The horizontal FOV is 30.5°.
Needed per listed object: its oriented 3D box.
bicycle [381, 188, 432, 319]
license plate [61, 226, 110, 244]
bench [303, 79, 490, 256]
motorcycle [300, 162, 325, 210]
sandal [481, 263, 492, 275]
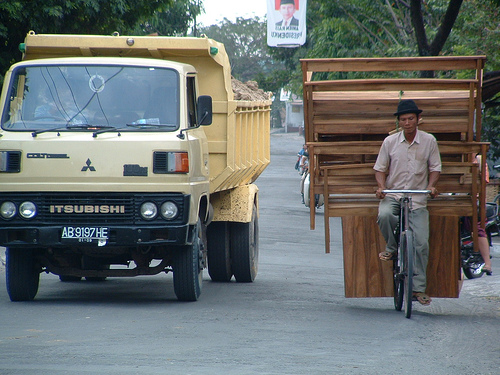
[{"bbox_3d":[1.899,0.823,11.368,0.280,1.513,0.799,-4,3,0],"label":"bicycle"},{"bbox_3d":[-1.988,0.564,11.054,0.579,0.230,0.036,-3,3,2],"label":"license plate"},{"bbox_3d":[1.806,-0.521,12.321,2.898,2.644,2.119,0,0,9],"label":"bench"},{"bbox_3d":[1.427,0.033,22.530,0.633,0.722,1.159,0,-3,7],"label":"motorcycle"},{"bbox_3d":[3.630,1.249,14.179,0.158,0.201,0.513,0,-11,12],"label":"sandal"}]
